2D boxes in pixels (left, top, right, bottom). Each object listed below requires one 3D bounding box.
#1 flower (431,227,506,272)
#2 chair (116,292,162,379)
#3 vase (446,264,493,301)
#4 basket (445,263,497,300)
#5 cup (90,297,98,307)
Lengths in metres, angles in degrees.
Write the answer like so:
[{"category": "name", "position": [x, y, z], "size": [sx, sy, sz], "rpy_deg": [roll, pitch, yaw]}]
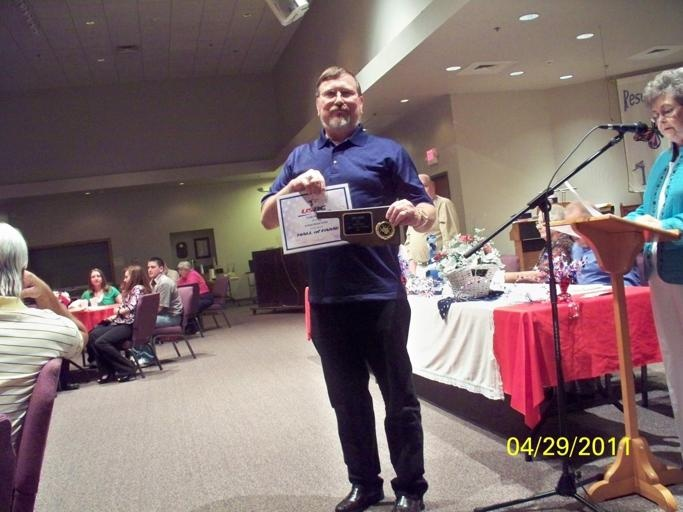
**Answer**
[{"category": "flower", "position": [0.841, -0.030, 2.985], "size": [0.382, 0.289, 0.388], "rpy_deg": [-8, -1, -4]}, {"category": "chair", "position": [-2.663, 1.023, 5.882], "size": [0.475, 1.150, 0.923], "rpy_deg": [-6, 1, -27]}, {"category": "vase", "position": [0.830, 0.161, 2.905], "size": [0.224, 0.161, 0.238], "rpy_deg": [-4, 8, -8]}, {"category": "basket", "position": [0.837, 0.117, 2.796], "size": [0.226, 0.163, 0.250], "rpy_deg": [-4, 7, -9]}, {"category": "cup", "position": [-3.944, 0.715, 6.992], "size": [0.125, 0.160, 0.134], "rpy_deg": [0, 0, 0]}]
